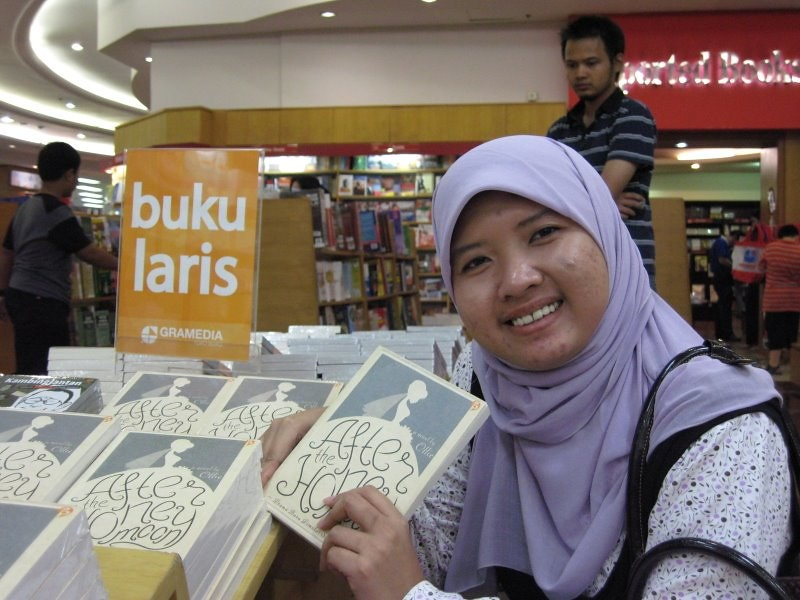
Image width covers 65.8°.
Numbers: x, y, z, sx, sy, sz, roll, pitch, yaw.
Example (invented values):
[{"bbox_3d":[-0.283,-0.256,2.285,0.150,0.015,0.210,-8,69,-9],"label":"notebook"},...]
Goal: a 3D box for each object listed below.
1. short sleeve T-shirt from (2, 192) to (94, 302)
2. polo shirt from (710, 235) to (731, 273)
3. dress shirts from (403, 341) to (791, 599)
[{"bbox_3d":[-2.023,-0.277,3.545,0.866,0.778,0.420,6,5,44],"label":"short sleeve T-shirt"},{"bbox_3d":[4.207,-0.611,8.092,0.270,0.461,0.508,-2,8,19],"label":"polo shirt"},{"bbox_3d":[0.355,0.370,1.257,0.680,0.457,0.573,0,0,9],"label":"dress shirts"}]
